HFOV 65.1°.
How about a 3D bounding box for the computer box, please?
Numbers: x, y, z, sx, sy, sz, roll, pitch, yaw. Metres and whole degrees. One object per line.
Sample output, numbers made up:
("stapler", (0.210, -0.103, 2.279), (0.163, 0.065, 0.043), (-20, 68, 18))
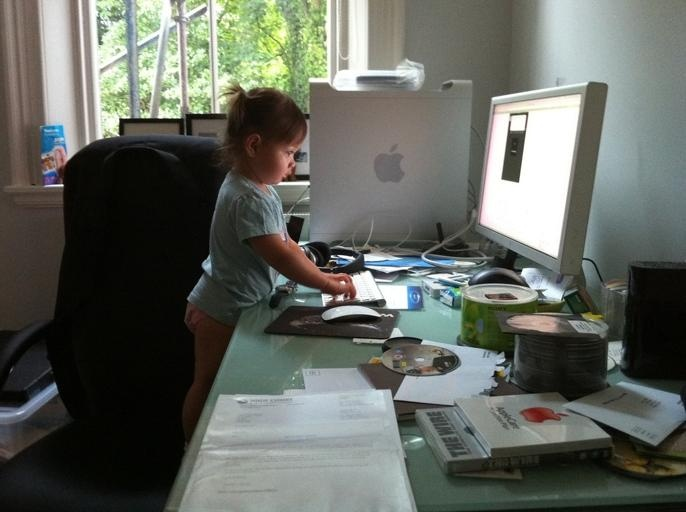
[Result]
("computer box", (0.146, -0.342, 2.007), (0.414, 0.523, 0.611), (3, 11, -2))

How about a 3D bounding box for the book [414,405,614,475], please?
("book", (0.229, 0.245, 0.708), (0.207, 0.035, 0.141), (-1, 10, -9))

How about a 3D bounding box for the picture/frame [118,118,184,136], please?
("picture/frame", (-0.810, -0.556, 2.299), (0.325, 0.070, 0.182), (12, 22, 40))

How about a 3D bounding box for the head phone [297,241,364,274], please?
("head phone", (-0.048, 0.000, 1.559), (0.204, 0.086, 0.189), (2, 11, -5))

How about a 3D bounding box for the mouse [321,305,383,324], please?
("mouse", (0.017, 0.111, 1.106), (0.097, 0.021, 0.047), (-2, 19, -2))

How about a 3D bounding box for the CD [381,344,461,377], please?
("CD", (0.127, 0.169, 0.928), (0.143, 0.025, 0.176), (3, 7, -10))

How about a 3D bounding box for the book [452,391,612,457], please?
("book", (0.254, 0.228, 0.723), (0.204, 0.031, 0.166), (0, 8, -6))
